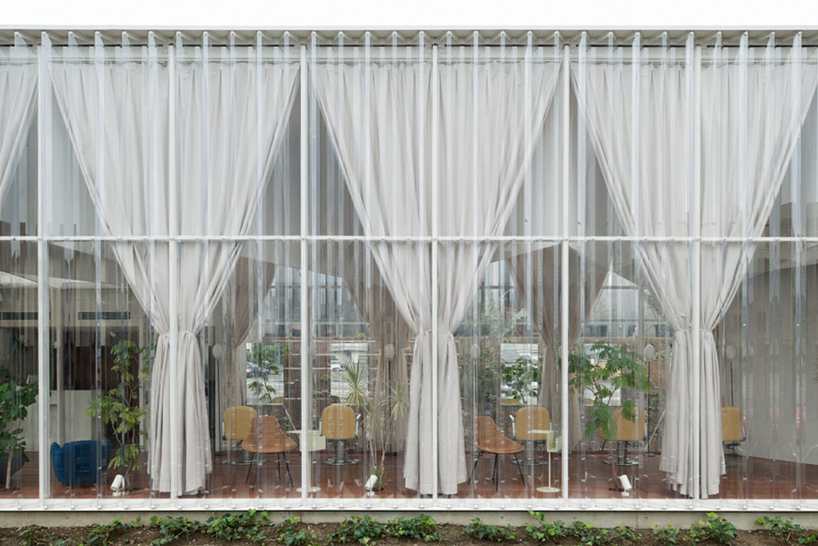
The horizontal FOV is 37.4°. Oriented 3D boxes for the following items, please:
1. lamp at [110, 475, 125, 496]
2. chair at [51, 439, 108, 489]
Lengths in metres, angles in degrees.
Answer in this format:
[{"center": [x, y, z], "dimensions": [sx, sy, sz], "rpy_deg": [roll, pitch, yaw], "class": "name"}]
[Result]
[{"center": [-3.845, 2.824, 16.003], "dimensions": [0.135, 0.185, 0.259], "rpy_deg": [2, 0, -6], "class": "lamp"}, {"center": [-4.395, 2.517, 16.041], "dimensions": [0.587, 0.619, 0.625], "rpy_deg": [3, -17, -17], "class": "chair"}]
